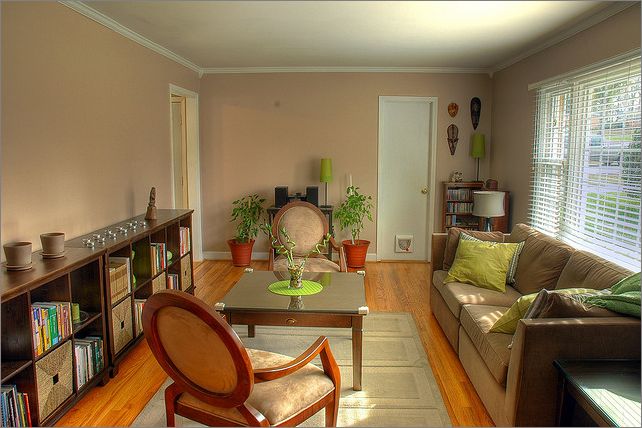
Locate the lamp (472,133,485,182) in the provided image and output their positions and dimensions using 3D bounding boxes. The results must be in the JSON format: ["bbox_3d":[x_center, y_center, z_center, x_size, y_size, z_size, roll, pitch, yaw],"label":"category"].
[{"bbox_3d":[2.356,-0.851,6.233,0.198,0.696,0.253,2,10,19],"label":"lamp"}]

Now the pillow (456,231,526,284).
[{"bbox_3d":[1.841,0.457,4.124,0.485,0.522,0.155,13,-1,32],"label":"pillow"}]

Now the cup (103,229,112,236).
[{"bbox_3d":[-1.977,0.179,3.878,0.063,0.031,0.100,2,3,-28],"label":"cup"}]

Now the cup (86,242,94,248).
[{"bbox_3d":[-1.952,0.262,3.519,0.041,0.030,0.043,-2,7,0],"label":"cup"}]

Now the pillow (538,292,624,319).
[{"bbox_3d":[1.650,0.629,2.750,0.275,0.086,0.279,0,2,2],"label":"pillow"}]

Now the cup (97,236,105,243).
[{"bbox_3d":[-1.936,0.234,3.679,0.036,0.044,0.061,0,4,-29],"label":"cup"}]

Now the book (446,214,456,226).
[{"bbox_3d":[1.950,0.087,6.259,0.147,0.144,0.070,2,12,9],"label":"book"}]

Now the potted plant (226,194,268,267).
[{"bbox_3d":[-1.116,0.245,6.310,0.575,1.059,0.467,-2,9,-8],"label":"potted plant"}]

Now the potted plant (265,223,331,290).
[{"bbox_3d":[-0.184,0.435,3.765,0.463,0.522,0.446,3,-3,-13],"label":"potted plant"}]

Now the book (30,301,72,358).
[{"bbox_3d":[-1.967,0.818,3.049,0.232,0.333,0.275,-6,10,-30],"label":"book"}]

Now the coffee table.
[{"bbox_3d":[-0.193,0.914,3.577,1.011,0.571,0.981,0,8,1],"label":"coffee table"}]

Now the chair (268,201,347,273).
[{"bbox_3d":[-0.192,0.205,4.800,0.798,1.143,0.796,-1,2,-5],"label":"chair"}]

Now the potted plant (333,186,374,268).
[{"bbox_3d":[0.511,0.224,6.330,0.534,1.216,0.622,2,3,41],"label":"potted plant"}]

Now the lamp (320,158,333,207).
[{"bbox_3d":[0.089,-0.484,6.246,0.189,0.717,0.289,-1,9,2],"label":"lamp"}]

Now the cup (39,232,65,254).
[{"bbox_3d":[-2.097,0.222,3.289,0.155,0.140,0.177,3,11,-1],"label":"cup"}]

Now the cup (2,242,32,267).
[{"bbox_3d":[-2.219,0.294,3.081,0.177,0.153,0.202,1,7,-11],"label":"cup"}]
